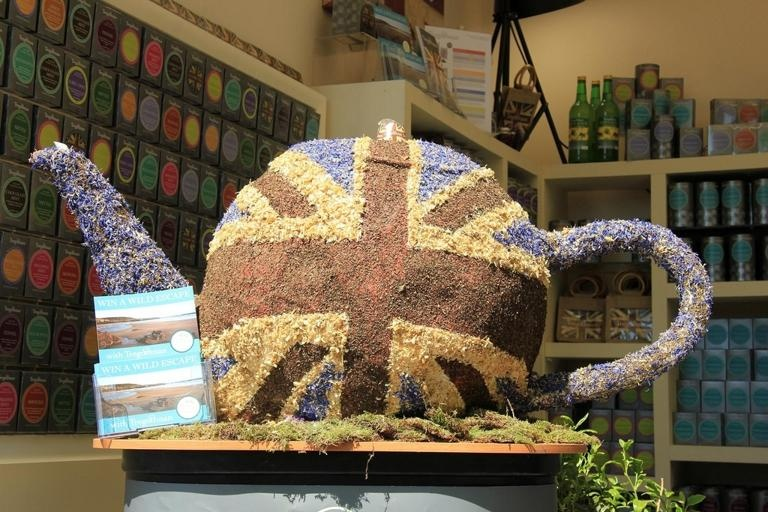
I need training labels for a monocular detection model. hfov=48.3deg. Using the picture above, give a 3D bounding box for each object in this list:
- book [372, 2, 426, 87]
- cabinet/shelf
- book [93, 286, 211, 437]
[{"bbox_3d":[0.057,-0.791,3.231,0.189,0.347,0.274,-3,-6,21],"label":"book"},{"bbox_3d":[0.721,0.212,3.690,2.081,1.727,1.252,1,-6,-10],"label":"cabinet/shelf"},{"bbox_3d":[-0.522,0.246,1.920,0.301,0.346,0.040,-6,-9,-8],"label":"book"}]
